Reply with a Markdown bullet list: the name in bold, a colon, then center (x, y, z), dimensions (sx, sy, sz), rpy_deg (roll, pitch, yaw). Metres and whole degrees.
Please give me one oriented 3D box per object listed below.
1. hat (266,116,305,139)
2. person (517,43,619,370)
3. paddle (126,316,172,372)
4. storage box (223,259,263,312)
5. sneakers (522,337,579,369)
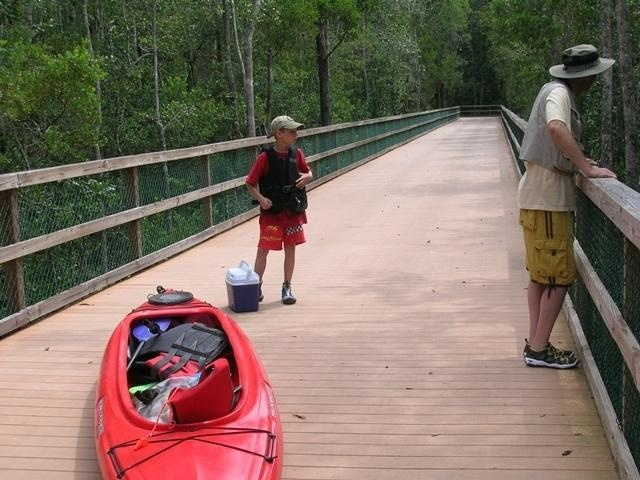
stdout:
- **hat**: center (-0.305, -0.985, 5.194), dimensions (0.286, 0.152, 0.199), rpy_deg (-11, 17, 7)
- **person**: center (1.585, -0.202, 3.855), dimensions (0.540, 2.108, 0.634), rpy_deg (3, 13, 21)
- **paddle**: center (-1.094, 0.599, 3.652), dimensions (0.156, 0.130, 0.274), rpy_deg (5, 58, 30)
- **storage box**: center (-0.689, 0.433, 5.301), dimensions (0.251, 0.427, 0.312), rpy_deg (-1, -4, -17)
- **sneakers**: center (1.560, 0.756, 3.956), dimensions (0.274, 0.140, 0.175), rpy_deg (-1, 8, 4)
